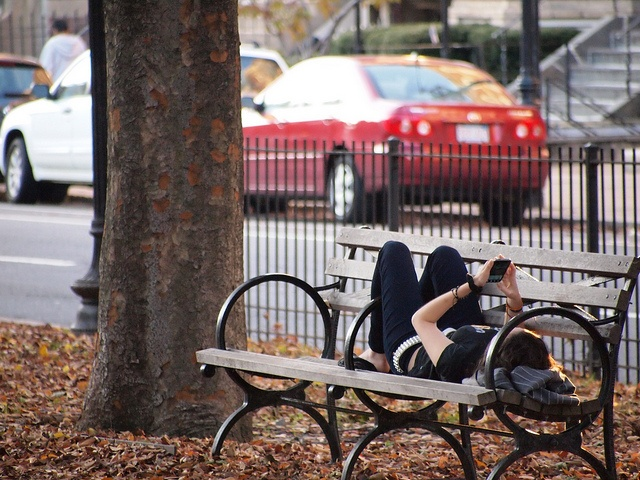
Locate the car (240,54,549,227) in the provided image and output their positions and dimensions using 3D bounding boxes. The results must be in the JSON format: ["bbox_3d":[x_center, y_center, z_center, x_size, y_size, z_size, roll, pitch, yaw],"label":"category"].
[{"bbox_3d":[1.068,-1.294,22.354,1.945,1.523,4.183,-3,7,-28],"label":"car"}]

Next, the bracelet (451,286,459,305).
[{"bbox_3d":[1.311,0.514,17.021,0.035,0.132,0.095,0,9,-3],"label":"bracelet"}]

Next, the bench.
[{"bbox_3d":[1.145,1.156,17.286,3.956,2.361,1.688,1,5,11],"label":"bench"}]
